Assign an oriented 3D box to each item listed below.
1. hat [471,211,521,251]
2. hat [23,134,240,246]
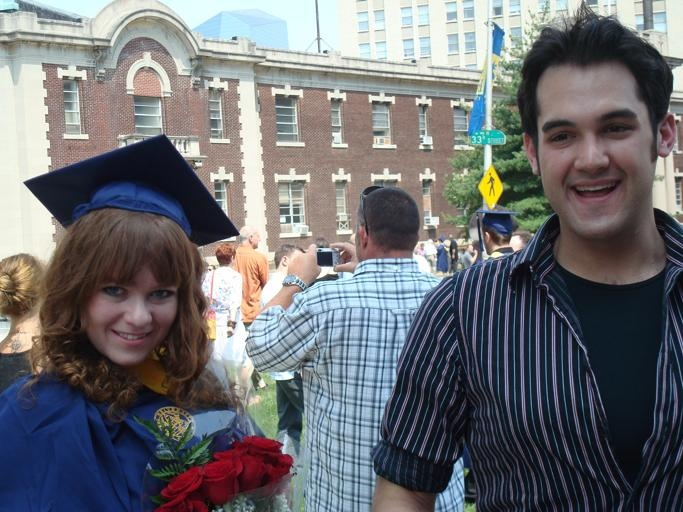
[{"bbox_3d":[1.566,-0.285,7.460,0.359,0.528,0.469,-8,11,-36],"label":"hat"},{"bbox_3d":[-0.972,-0.293,3.241,0.582,0.163,0.639,-17,-41,10],"label":"hat"}]
